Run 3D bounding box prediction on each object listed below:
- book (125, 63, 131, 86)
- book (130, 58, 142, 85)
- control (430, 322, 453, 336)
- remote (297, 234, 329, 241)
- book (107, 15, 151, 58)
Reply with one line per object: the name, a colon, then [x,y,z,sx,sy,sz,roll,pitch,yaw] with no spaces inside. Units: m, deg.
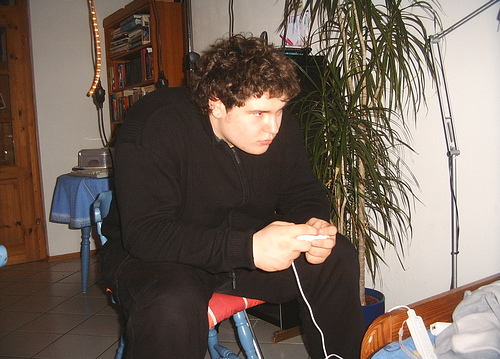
book: [-1.228,-1.073,4.141,0.040,0.177,0.169,-1,11,-21]
book: [-1.117,-1.058,4.030,0.140,0.261,0.268,-6,1,-15]
control: [0.673,0.519,1.442,0.065,0.032,0.091,-3,-3,28]
remote: [0.229,0.212,1.514,0.118,0.019,0.012,3,-10,-25]
book: [-1.154,-1.369,3.931,0.321,0.146,0.448,15,36,44]
